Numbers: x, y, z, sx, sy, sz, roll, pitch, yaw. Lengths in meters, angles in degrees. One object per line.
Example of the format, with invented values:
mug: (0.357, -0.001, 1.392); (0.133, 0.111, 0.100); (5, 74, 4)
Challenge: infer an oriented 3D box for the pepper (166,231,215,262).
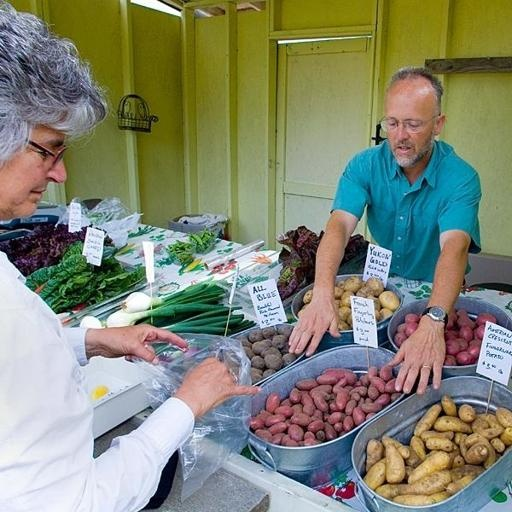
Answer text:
pepper: (-0.436, -0.053, 2.862); (0.287, 0.122, 0.159); (-26, 45, -15)

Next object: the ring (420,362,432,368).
ring: (0.582, 0.374, 1.426); (0.027, 0.009, 0.033); (4, 18, 17)

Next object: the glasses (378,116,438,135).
glasses: (0.747, -0.630, 2.035); (0.214, 0.075, 0.126); (7, 19, 24)

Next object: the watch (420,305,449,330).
watch: (0.691, 0.225, 1.639); (0.092, 0.089, 0.075); (15, 61, 23)
